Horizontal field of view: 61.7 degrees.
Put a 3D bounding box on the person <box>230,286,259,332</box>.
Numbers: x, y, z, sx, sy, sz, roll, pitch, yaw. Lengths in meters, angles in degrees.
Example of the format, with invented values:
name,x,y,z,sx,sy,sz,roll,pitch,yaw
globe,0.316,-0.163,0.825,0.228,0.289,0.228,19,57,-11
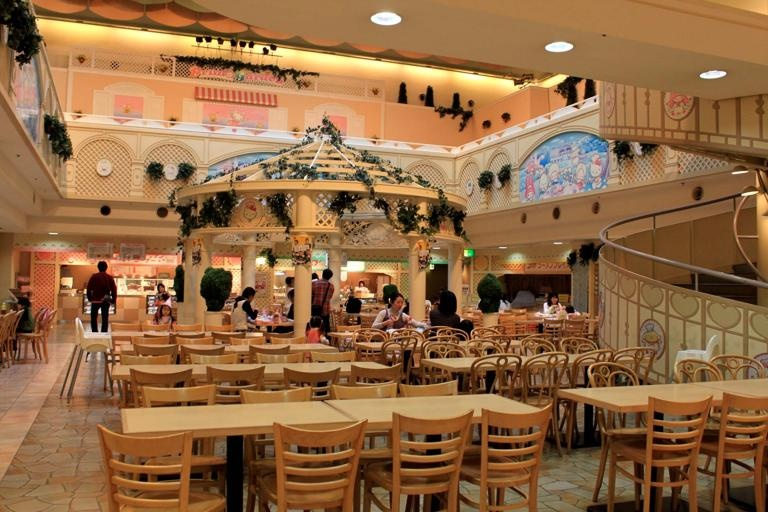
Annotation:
name,x,y,z,sx,sy,sz,roll,pitch,yaw
person,-3.051,1.134,13.965,0.446,1.226,0.477,-20,38,-41

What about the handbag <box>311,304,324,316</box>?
name,x,y,z,sx,sy,sz,roll,pitch,yaw
handbag,-1.326,1.081,12.795,0.273,0.258,0.203,1,-6,-6

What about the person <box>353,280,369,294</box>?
name,x,y,z,sx,sy,sz,roll,pitch,yaw
person,-0.834,1.145,23.402,0.555,0.885,0.490,1,-12,-6
